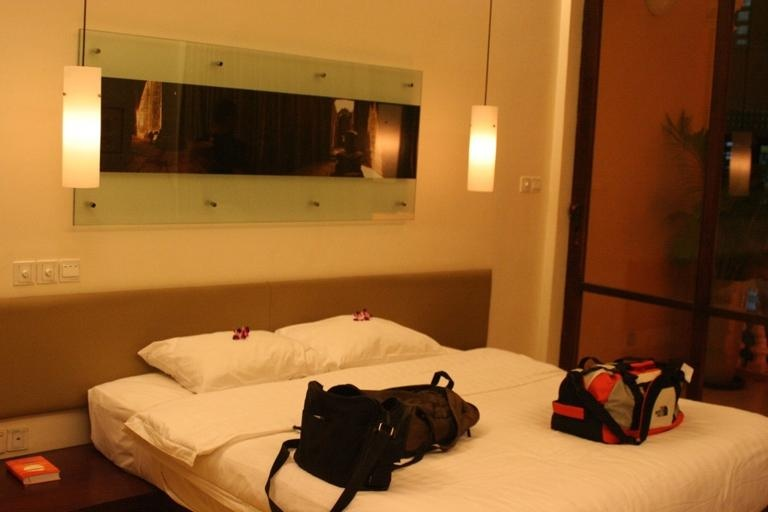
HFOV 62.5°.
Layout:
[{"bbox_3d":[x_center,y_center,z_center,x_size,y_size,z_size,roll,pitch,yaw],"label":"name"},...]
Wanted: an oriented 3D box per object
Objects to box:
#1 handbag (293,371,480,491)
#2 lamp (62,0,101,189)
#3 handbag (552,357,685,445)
[{"bbox_3d":[0.016,0.765,3.036,0.696,0.305,0.478,-1,-2,-42],"label":"handbag"},{"bbox_3d":[-1.574,-0.665,3.283,0.190,0.620,0.109,2,14,-1],"label":"lamp"},{"bbox_3d":[1.273,0.714,3.380,0.573,0.288,0.434,0,-4,-37],"label":"handbag"}]
